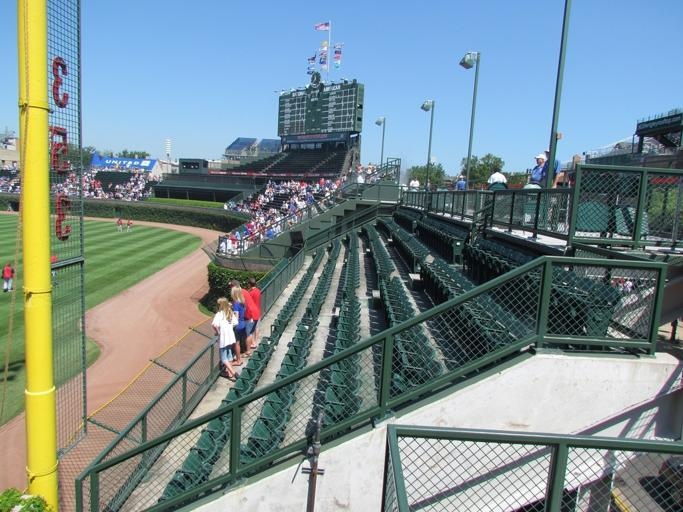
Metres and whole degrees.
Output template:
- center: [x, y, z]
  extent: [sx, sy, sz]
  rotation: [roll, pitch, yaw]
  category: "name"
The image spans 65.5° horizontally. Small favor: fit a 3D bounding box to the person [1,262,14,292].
- center: [-14.375, 0.874, 22.793]
  extent: [0.380, 1.094, 1.554]
  rotation: [-2, 11, -33]
  category: "person"
